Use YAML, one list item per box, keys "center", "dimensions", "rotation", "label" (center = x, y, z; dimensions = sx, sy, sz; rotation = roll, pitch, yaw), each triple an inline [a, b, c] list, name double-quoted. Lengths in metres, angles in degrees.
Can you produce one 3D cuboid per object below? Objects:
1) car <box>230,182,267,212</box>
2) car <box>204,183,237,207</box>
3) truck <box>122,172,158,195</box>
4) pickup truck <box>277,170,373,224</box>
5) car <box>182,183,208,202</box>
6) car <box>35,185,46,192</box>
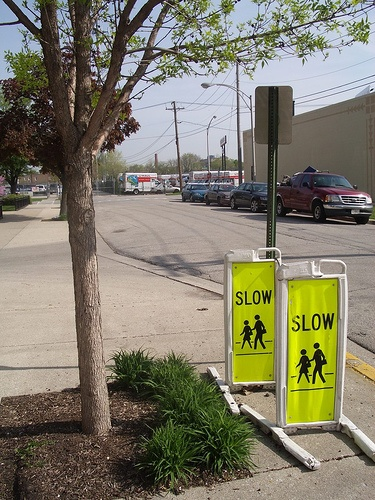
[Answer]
- center: [3.068, -2.672, 25.425]
  dimensions: [1.030, 0.845, 2.356]
  rotation: [0, 4, -23]
  label: "car"
- center: [2.138, -3.486, 31.723]
  dimensions: [1.022, 0.818, 2.319]
  rotation: [-1, 5, -16]
  label: "car"
- center: [-6.088, -8.883, 66.785]
  dimensions: [4.102, 2.321, 2.458]
  rotation: [-5, 16, -13]
  label: "truck"
- center: [5.120, -2.063, 19.417]
  dimensions: [1.774, 1.456, 3.822]
  rotation: [-1, 7, -17]
  label: "pickup truck"
- center: [0.620, -4.296, 37.488]
  dimensions: [1.061, 0.831, 2.315]
  rotation: [-2, 5, -15]
  label: "car"
- center: [-25.996, -11.052, 91.138]
  dimensions: [1.299, 0.885, 2.094]
  rotation: [-1, 7, -23]
  label: "car"
